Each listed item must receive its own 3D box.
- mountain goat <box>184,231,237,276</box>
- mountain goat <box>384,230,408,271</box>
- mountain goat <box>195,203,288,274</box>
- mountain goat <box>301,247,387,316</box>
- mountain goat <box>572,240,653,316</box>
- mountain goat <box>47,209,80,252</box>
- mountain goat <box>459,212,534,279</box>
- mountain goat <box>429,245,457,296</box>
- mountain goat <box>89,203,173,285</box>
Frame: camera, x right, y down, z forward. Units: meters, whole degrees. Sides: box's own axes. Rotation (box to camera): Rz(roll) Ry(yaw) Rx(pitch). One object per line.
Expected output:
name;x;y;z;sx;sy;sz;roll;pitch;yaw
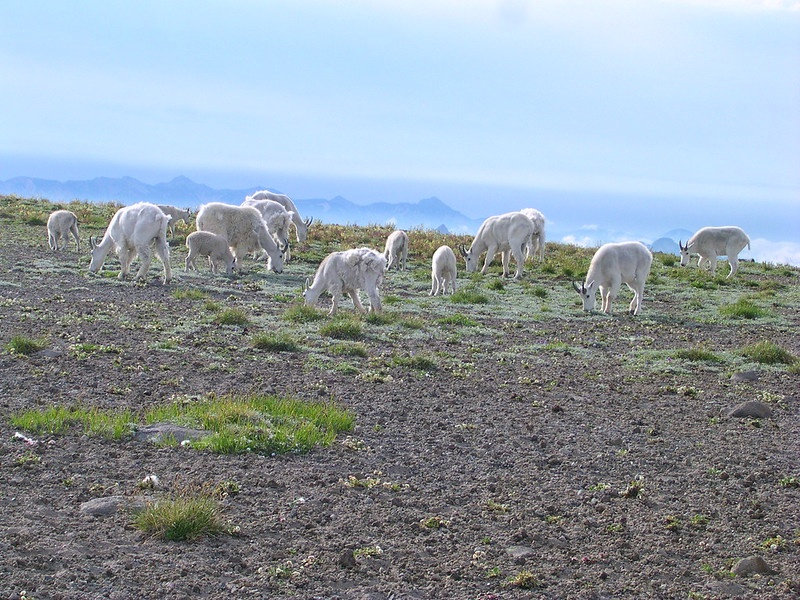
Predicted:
mountain goat;-5.487;-1.411;28.338;1.358;1.156;1.880;0;8;-14
mountain goat;-0.044;-1.680;33.379;0.479;1.332;2.012;9;-9;-5
mountain goat;-4.741;-1.831;29.691;2.589;2.098;0.854;10;23;-4
mountain goat;-1.206;-0.428;22.329;1.369;1.479;1.781;-3;9;-30
mountain goat;5.488;-0.457;25.121;2.203;1.836;0.734;-6;8;-23
mountain goat;-10.499;-2.140;30.317;1.402;1.308;0.371;-2;6;35
mountain goat;3.365;-1.846;32.685;1.572;2.107;2.555;-5;10;-40
mountain goat;1.237;-0.778;27.562;0.587;1.421;2.342;0;-2;-2
mountain goat;-6.994;-1.421;25.332;2.289;2.021;0.795;0;4;24
